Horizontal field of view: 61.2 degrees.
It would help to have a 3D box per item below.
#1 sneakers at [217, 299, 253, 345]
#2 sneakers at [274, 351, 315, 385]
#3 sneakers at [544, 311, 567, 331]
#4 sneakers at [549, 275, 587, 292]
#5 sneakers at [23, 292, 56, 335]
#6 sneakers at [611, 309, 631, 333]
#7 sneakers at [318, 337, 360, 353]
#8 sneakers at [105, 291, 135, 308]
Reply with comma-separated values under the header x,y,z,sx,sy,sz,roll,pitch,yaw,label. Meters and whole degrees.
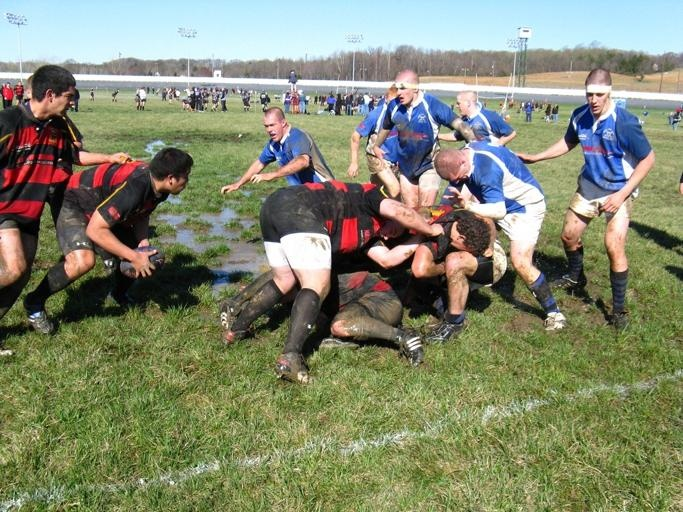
x,y,z,sx,sy,sz,roll,pitch,yaw,label
-1.108,0.678,5.963,0.195,0.257,0.478,6,21,-28,sneakers
-0.449,1.039,5.356,0.180,0.202,0.397,-6,-11,21,sneakers
2.528,0.760,6.778,0.124,0.168,0.345,-7,-9,37,sneakers
3.146,0.299,8.013,0.539,0.260,0.219,2,45,7,sneakers
-3.091,0.589,5.871,0.161,0.379,0.141,-32,2,24,sneakers
3.307,0.744,6.788,0.141,0.138,0.291,-2,-1,15,sneakers
-0.026,0.905,6.080,0.429,0.192,0.155,9,35,-8,sneakers
-2.558,0.495,6.663,0.307,0.137,0.175,16,24,-12,sneakers
